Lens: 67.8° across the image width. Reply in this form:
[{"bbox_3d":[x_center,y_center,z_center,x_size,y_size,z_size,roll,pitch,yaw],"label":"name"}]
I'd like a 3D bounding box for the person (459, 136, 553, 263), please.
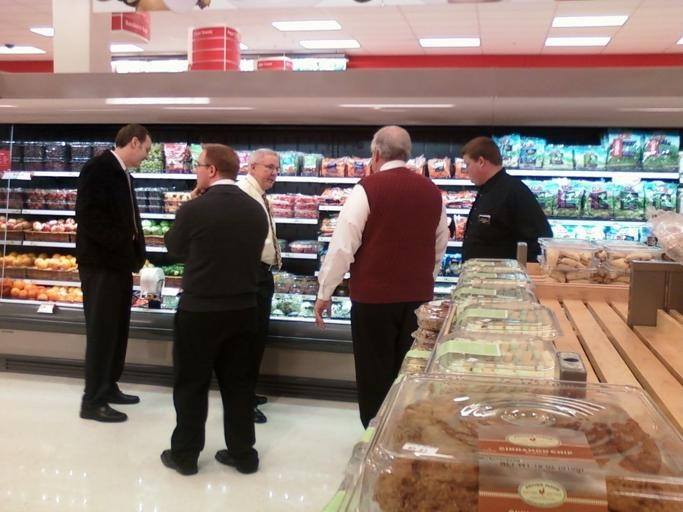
[{"bbox_3d":[1.108,-0.371,3.429,0.620,0.842,0.291,4,9,13],"label":"person"}]

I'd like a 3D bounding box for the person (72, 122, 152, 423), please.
[{"bbox_3d":[-1.672,0.114,3.680,0.450,2.118,0.539,1,9,-8],"label":"person"}]

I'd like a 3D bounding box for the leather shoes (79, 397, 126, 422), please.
[{"bbox_3d":[-1.710,1.111,3.698,0.387,0.137,0.132,3,0,4],"label":"leather shoes"}]

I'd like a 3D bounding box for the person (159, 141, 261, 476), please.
[{"bbox_3d":[-0.734,0.323,2.948,0.600,1.912,0.327,-1,10,-18],"label":"person"}]

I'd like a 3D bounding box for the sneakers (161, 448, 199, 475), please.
[{"bbox_3d":[-0.935,1.205,2.974,0.212,0.131,0.090,27,23,24],"label":"sneakers"}]

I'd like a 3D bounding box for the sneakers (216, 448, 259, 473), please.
[{"bbox_3d":[-0.631,1.208,3.127,0.303,0.124,0.112,13,8,40],"label":"sneakers"}]
